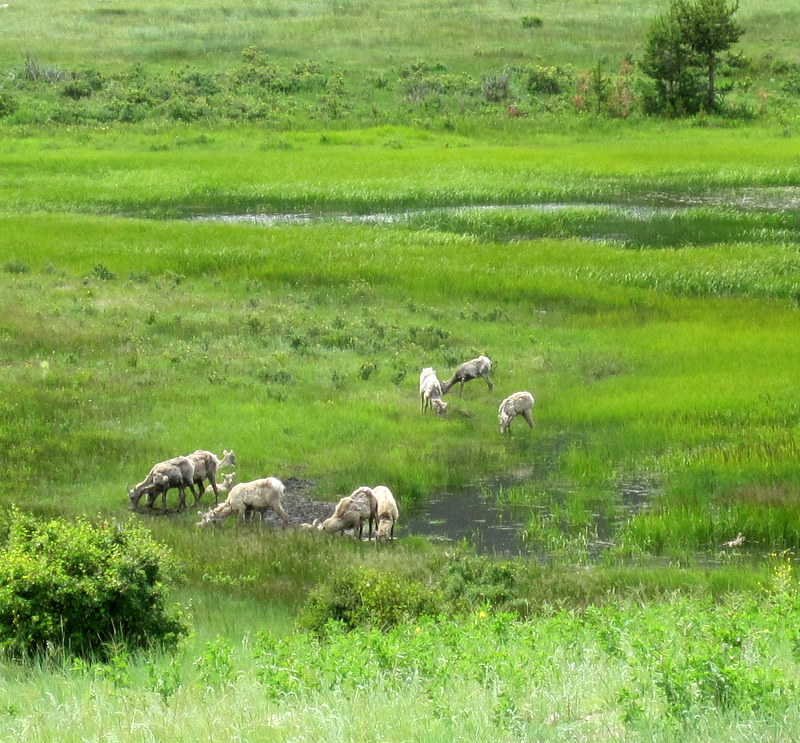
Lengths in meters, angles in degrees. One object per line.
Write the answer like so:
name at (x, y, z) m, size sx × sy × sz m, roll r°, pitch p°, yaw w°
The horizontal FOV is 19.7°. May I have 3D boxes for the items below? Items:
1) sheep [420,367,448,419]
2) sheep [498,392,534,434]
sheep at (1.225, 0.907, 93.861) m, size 0.560 × 1.632 × 2.732 m, roll -1°, pitch 38°, yaw -10°
sheep at (4.667, 1.651, 93.330) m, size 1.614 × 1.642 × 1.285 m, roll -4°, pitch 8°, yaw -20°
